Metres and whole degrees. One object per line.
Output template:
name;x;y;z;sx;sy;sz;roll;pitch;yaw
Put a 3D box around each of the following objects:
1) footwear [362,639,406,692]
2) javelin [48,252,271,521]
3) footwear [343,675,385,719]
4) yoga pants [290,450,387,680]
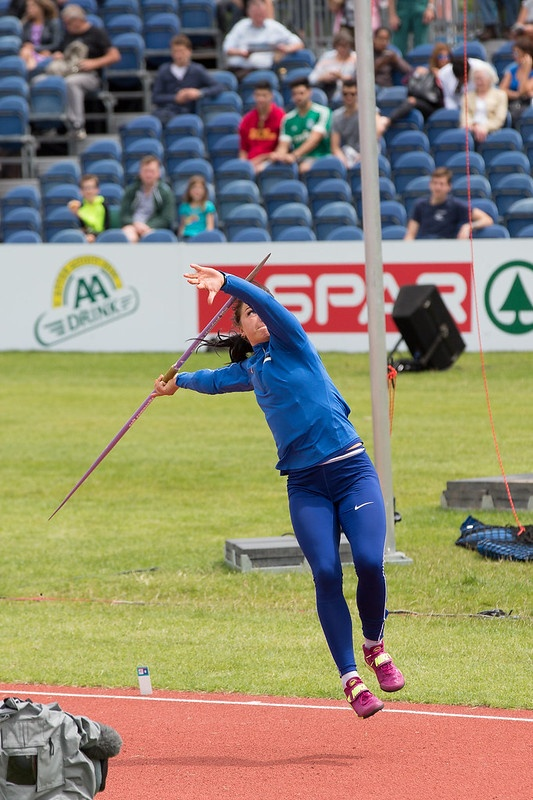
footwear;0.516;1.169;8.258;0.108;0.142;0.309;-32;31;-4
javelin;-0.747;-0.109;12.165;2.420;0.064;0.052;-49;54;-3
footwear;0.412;1.304;8.066;0.096;0.115;0.251;-38;13;-6
yoga pants;0.317;0.718;8.197;0.419;0.968;0.374;-2;14;0
